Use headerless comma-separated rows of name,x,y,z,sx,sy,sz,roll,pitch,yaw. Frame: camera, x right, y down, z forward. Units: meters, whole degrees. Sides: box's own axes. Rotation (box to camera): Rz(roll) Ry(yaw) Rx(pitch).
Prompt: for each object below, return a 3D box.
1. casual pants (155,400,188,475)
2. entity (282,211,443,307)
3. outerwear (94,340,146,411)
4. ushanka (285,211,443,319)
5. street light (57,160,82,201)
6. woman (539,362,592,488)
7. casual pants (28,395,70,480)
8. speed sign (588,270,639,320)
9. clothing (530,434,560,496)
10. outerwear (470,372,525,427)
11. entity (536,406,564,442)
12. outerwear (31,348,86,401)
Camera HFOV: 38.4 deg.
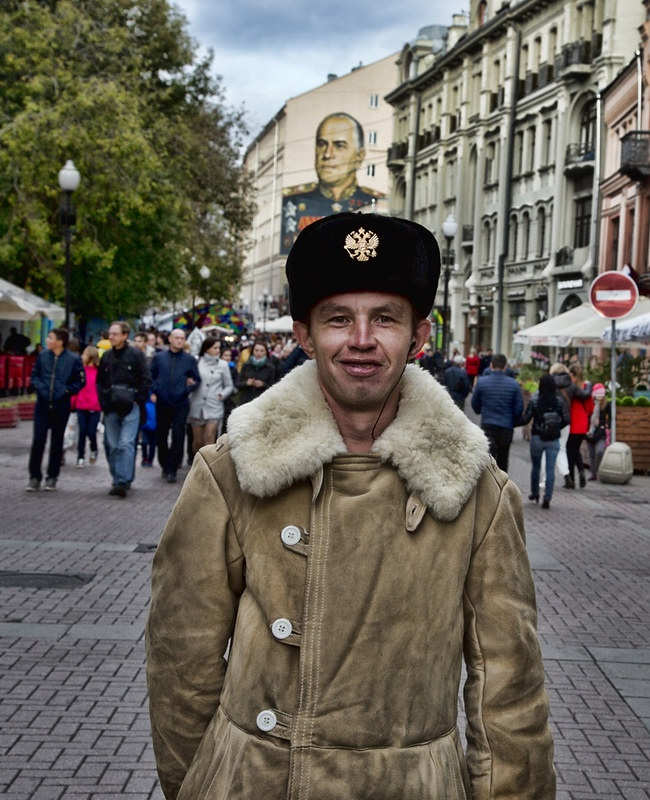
casual pants,-2.200,0.508,13.455,0.469,1.365,0.353,9,22,4
entity,0.076,-0.247,1.742,0.275,0.230,0.366,-3,3,-3
outerwear,-2.543,-0.277,11.681,0.638,0.920,0.298,-1,-11,3
ushanka,0.059,-0.214,1.655,0.170,0.154,0.227,1,-5,-5
street light,-5.271,-4.680,19.388,0.356,0.819,0.678,2,2,-15
woman,3.669,0.569,14.874,0.734,2.200,0.608,4,38,24
casual pants,-3.465,0.499,11.845,0.449,0.357,1.354,1,47,-16
speed sign,4.404,-1.631,14.365,0.646,0.732,0.500,4,2,31
clothing,2.950,0.786,12.657,0.344,1.243,0.328,7,17,25
outerwear,2.377,-0.044,12.857,0.873,1.081,0.638,0,11,12
entity,2.995,0.330,12.525,0.294,0.446,0.414,1,0,0
outerwear,-3.359,-0.337,11.917,0.633,0.689,0.368,10,6,-4
